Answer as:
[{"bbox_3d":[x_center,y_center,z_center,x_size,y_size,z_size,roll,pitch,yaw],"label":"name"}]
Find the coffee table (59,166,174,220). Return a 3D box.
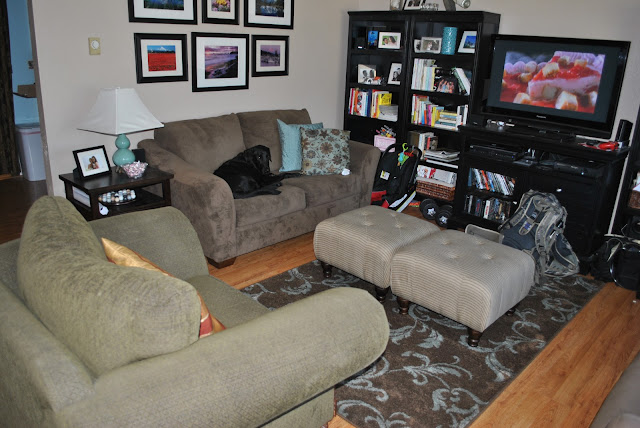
[{"bbox_3d":[-1.666,-0.332,3.649,0.591,0.426,0.559,-21,36,-34],"label":"coffee table"}]

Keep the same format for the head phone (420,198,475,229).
[{"bbox_3d":[1.274,0.004,4.879,0.420,0.252,0.097,38,18,25],"label":"head phone"}]

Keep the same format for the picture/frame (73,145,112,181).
[{"bbox_3d":[-1.855,-0.407,3.686,0.154,0.243,0.286,19,28,37],"label":"picture/frame"}]

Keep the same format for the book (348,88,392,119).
[{"bbox_3d":[0.613,-1.316,5.354,0.386,0.288,0.206,16,14,42],"label":"book"}]

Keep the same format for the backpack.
[{"bbox_3d":[1.938,0.178,3.963,0.639,0.771,0.314,27,17,26],"label":"backpack"}]

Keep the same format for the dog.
[{"bbox_3d":[-0.603,-0.370,4.147,0.613,0.305,0.419,-13,31,-21],"label":"dog"}]

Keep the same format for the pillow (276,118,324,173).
[{"bbox_3d":[-0.170,-0.703,4.762,0.583,0.510,0.223,-11,11,-42],"label":"pillow"}]

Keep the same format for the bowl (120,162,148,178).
[{"bbox_3d":[-1.517,-0.369,3.692,0.158,0.090,0.154,-3,13,1],"label":"bowl"}]

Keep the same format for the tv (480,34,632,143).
[{"bbox_3d":[2.197,-1.151,4.128,0.965,0.679,0.279,25,35,30],"label":"tv"}]

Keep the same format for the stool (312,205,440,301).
[{"bbox_3d":[0.446,0.178,3.536,0.707,0.402,0.696,-19,28,-40],"label":"stool"}]

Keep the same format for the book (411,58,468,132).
[{"bbox_3d":[1.289,-1.300,4.867,0.237,0.678,0.708,-16,27,-38],"label":"book"}]

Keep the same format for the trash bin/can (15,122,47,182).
[{"bbox_3d":[-3.470,-0.738,5.461,0.265,0.645,0.310,-12,24,-33],"label":"trash bin/can"}]

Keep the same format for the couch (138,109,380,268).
[{"bbox_3d":[-0.529,-0.410,4.508,1.233,1.025,2.169,23,29,36],"label":"couch"}]

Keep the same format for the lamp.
[{"bbox_3d":[-1.606,-0.686,3.745,0.585,0.605,0.600,11,21,10],"label":"lamp"}]

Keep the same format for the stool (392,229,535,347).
[{"bbox_3d":[1.041,0.493,3.338,1.057,0.468,1.014,0,18,-6],"label":"stool"}]

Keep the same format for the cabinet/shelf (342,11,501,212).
[{"bbox_3d":[1.135,-1.076,4.819,1.702,2.259,0.590,25,31,39],"label":"cabinet/shelf"}]

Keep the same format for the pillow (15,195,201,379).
[{"bbox_3d":[-0.894,0.280,1.830,0.953,0.350,0.432,28,33,28],"label":"pillow"}]

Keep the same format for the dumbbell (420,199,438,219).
[{"bbox_3d":[1.207,-0.062,4.984,0.220,0.207,0.053,-33,-4,33],"label":"dumbbell"}]

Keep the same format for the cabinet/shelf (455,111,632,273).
[{"bbox_3d":[1.890,-0.100,4.369,1.417,1.215,0.544,14,5,4],"label":"cabinet/shelf"}]

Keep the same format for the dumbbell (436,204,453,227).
[{"bbox_3d":[1.325,0.027,4.910,0.211,0.212,0.207,-5,25,16],"label":"dumbbell"}]

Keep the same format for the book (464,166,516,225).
[{"bbox_3d":[1.705,-0.170,4.580,0.133,0.514,0.563,-2,20,-42],"label":"book"}]
